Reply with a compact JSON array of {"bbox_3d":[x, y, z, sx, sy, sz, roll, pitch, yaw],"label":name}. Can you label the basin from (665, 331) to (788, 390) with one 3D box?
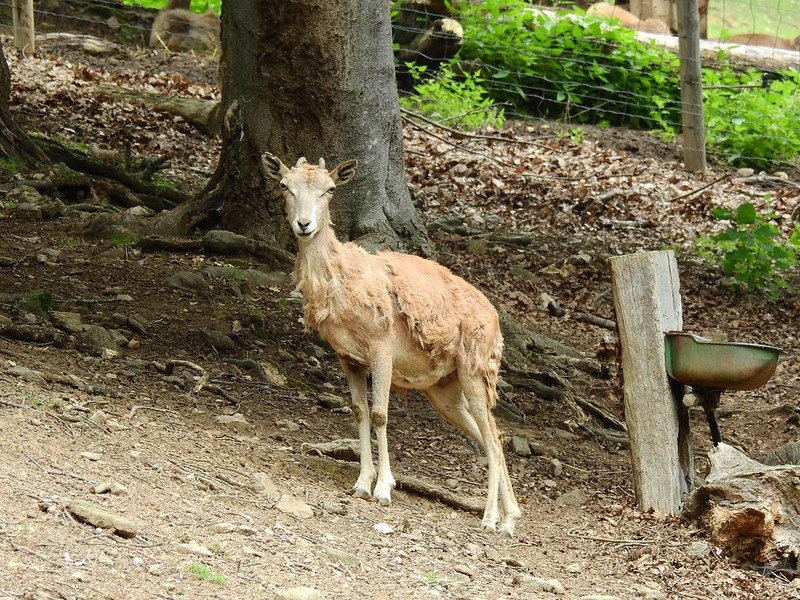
[{"bbox_3d":[3.495,0.680,18.170,1.337,0.547,0.969,1,-10,23],"label":"basin"}]
